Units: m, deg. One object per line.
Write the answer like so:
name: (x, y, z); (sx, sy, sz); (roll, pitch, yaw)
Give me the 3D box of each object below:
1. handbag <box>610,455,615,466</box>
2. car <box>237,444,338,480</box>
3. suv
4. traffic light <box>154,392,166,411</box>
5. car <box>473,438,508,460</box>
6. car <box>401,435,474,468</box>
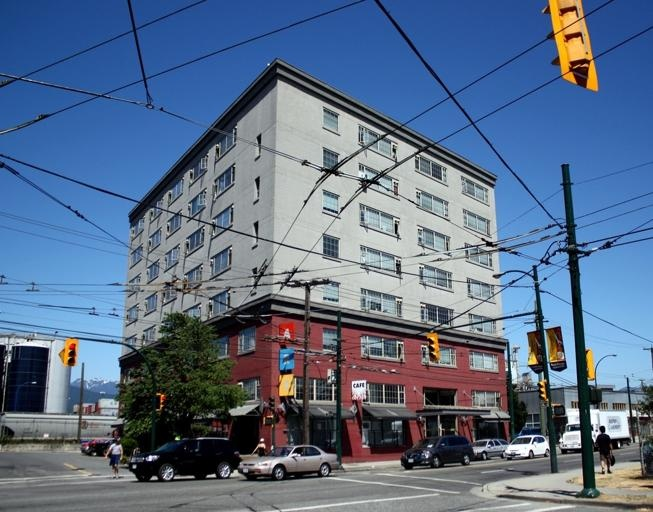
handbag: (13.584, 9.648, 31.491); (0.191, 0.380, 0.499); (-7, -19, 14)
car: (-1.975, 10.542, 33.942); (4.514, 1.139, 1.996); (14, -24, -38)
suv: (-7.022, 10.372, 33.797); (5.479, 1.712, 2.361); (12, -24, -34)
traffic light: (-11.055, 9.630, 43.982); (0.550, 1.188, 1.963); (1, -18, -10)
car: (12.449, 14.779, 50.871); (3.961, 1.134, 2.144); (16, -25, -39)
car: (6.918, 12.149, 41.243); (5.535, 1.881, 1.275); (14, -25, -42)
